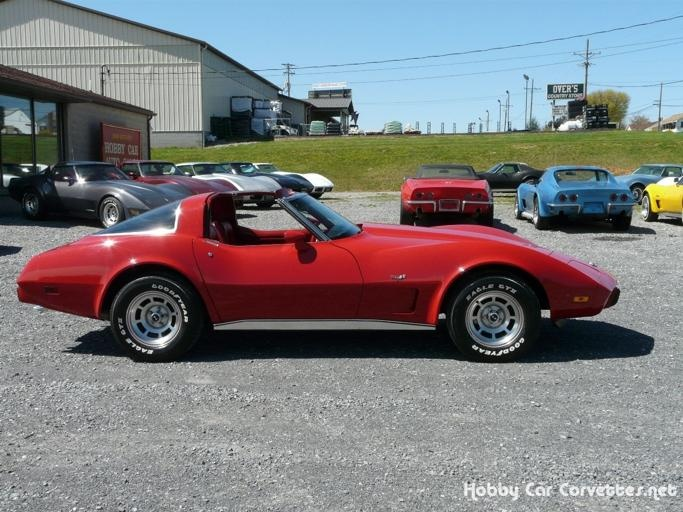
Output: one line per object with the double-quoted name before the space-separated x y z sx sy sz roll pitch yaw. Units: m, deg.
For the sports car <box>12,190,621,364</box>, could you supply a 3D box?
"sports car" -0.284 0.180 5.136 4.809 1.421 0.819 0 15 1
